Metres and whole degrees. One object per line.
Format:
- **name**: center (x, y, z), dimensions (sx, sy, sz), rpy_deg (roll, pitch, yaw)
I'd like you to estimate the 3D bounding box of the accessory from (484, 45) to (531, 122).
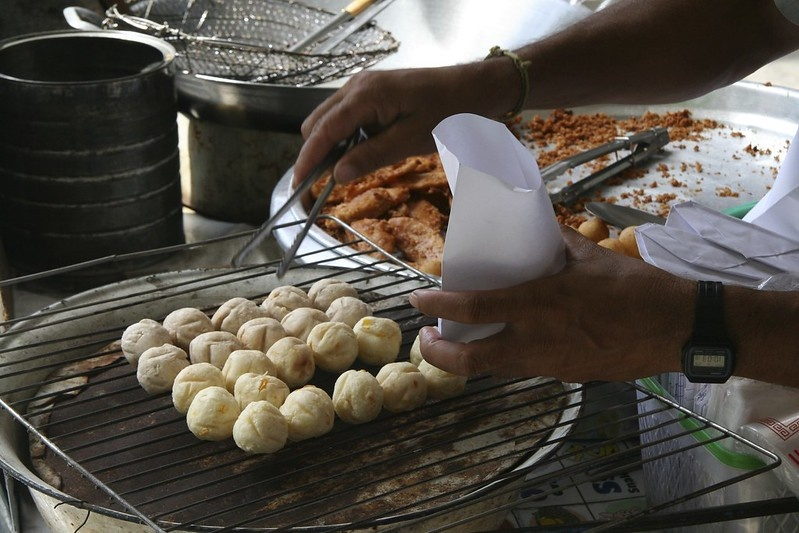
- **accessory**: center (0.274, -0.470, 1.950), dimensions (0.088, 0.144, 0.162), rpy_deg (-5, 44, -14)
